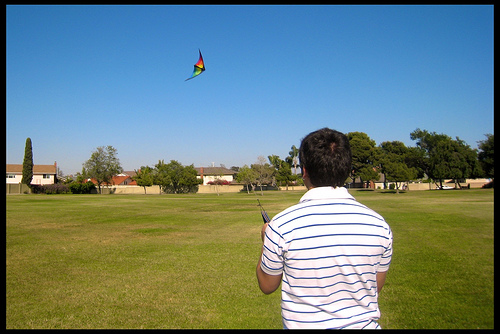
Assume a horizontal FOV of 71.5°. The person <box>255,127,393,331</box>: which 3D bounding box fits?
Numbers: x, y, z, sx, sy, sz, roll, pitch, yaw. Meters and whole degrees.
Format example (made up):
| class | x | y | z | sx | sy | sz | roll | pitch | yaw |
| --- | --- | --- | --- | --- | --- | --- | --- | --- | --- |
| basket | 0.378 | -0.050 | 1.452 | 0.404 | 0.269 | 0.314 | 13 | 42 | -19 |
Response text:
| class | x | y | z | sx | sy | sz | roll | pitch | yaw |
| --- | --- | --- | --- | --- | --- | --- | --- | --- | --- |
| person | 0.935 | 0.815 | 4.461 | 1.532 | 2.599 | 0.438 | -2 | -2 | -11 |
